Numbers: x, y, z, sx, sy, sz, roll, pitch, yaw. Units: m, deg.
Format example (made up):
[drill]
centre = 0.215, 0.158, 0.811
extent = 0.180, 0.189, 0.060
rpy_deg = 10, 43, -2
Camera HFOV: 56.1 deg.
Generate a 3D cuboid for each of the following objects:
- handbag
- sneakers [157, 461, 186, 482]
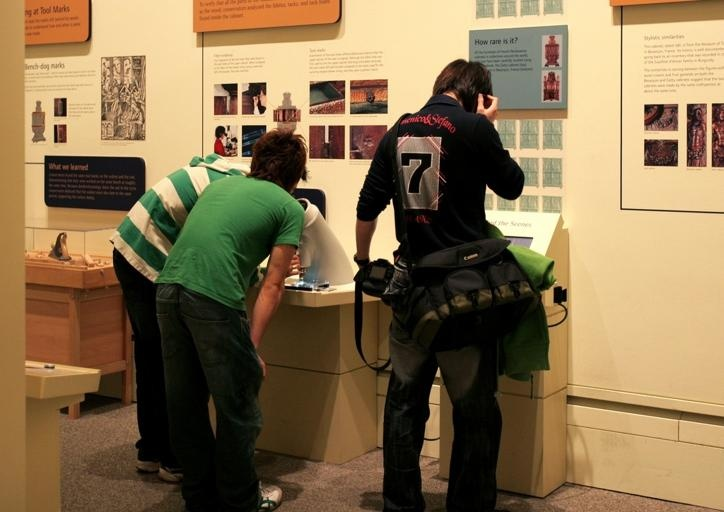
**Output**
[handbag]
centre = 0.474, 0.154, 2.981
extent = 0.522, 0.240, 0.460
rpy_deg = -14, 41, 7
[sneakers]
centre = -1.054, 1.198, 3.828
extent = 0.091, 0.083, 0.180
rpy_deg = 12, -3, 22
